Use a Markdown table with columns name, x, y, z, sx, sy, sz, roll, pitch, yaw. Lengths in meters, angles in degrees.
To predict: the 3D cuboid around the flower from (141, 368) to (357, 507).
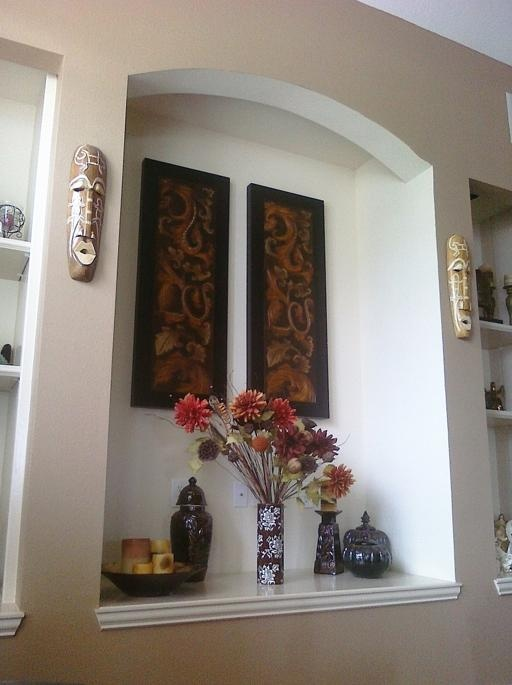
| name | x | y | z | sx | sy | sz | roll | pitch | yaw |
| --- | --- | --- | --- | --- | --- | --- | --- | --- | --- |
| flower | 0.017 | 0.364 | 1.876 | 0.621 | 0.420 | 0.419 | 4 | -8 | -15 |

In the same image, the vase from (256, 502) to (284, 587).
| name | x | y | z | sx | sy | sz | roll | pitch | yaw |
| --- | --- | --- | --- | --- | --- | --- | --- | --- | --- |
| vase | 0.044 | 0.622 | 1.688 | 0.081 | 0.228 | 0.075 | 1 | -8 | 2 |

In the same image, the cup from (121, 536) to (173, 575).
| name | x | y | z | sx | sy | sz | roll | pitch | yaw |
| --- | --- | --- | --- | --- | --- | --- | --- | --- | --- |
| cup | -0.283 | 0.544 | 1.415 | 0.118 | 0.101 | 0.081 | 3 | -12 | -16 |
